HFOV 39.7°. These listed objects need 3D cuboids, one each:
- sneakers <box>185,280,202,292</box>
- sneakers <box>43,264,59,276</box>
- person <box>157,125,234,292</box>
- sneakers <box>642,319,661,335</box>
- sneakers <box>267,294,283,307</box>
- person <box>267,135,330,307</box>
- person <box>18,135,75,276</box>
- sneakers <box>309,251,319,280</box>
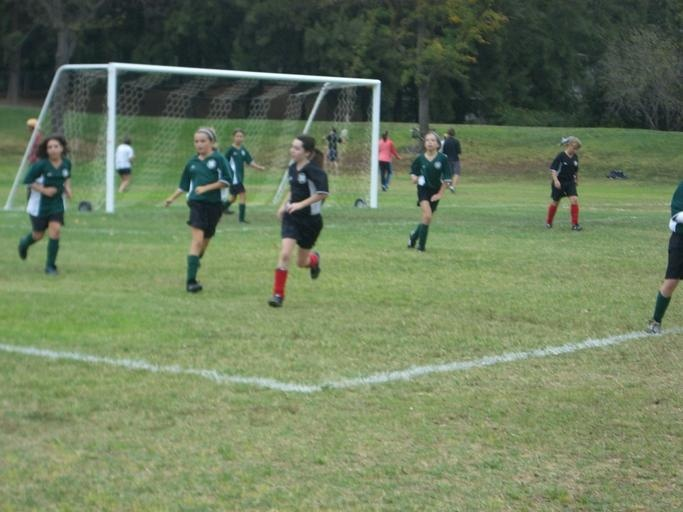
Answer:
[{"bbox_3d":[-1.909,0.383,12.154,0.241,0.156,0.219,4,6,8],"label":"sneakers"},{"bbox_3d":[-3.977,0.195,13.037,0.239,0.175,0.090,0,2,32],"label":"sneakers"},{"bbox_3d":[-1.835,-0.640,12.501,0.744,2.118,1.066,2,5,-11],"label":"person"},{"bbox_3d":[3.601,0.838,11.042,0.281,0.200,0.098,-4,6,-34],"label":"sneakers"},{"bbox_3d":[-0.794,0.539,11.484,0.182,0.171,0.297,2,6,-6],"label":"sneakers"},{"bbox_3d":[-0.512,-0.465,11.833,0.657,2.092,1.130,2,5,-2],"label":"person"},{"bbox_3d":[-4.073,-0.734,13.074,0.610,1.902,0.742,1,5,-20],"label":"person"},{"bbox_3d":[-0.351,0.129,12.488,0.111,0.351,0.149,0,-6,1],"label":"sneakers"}]
